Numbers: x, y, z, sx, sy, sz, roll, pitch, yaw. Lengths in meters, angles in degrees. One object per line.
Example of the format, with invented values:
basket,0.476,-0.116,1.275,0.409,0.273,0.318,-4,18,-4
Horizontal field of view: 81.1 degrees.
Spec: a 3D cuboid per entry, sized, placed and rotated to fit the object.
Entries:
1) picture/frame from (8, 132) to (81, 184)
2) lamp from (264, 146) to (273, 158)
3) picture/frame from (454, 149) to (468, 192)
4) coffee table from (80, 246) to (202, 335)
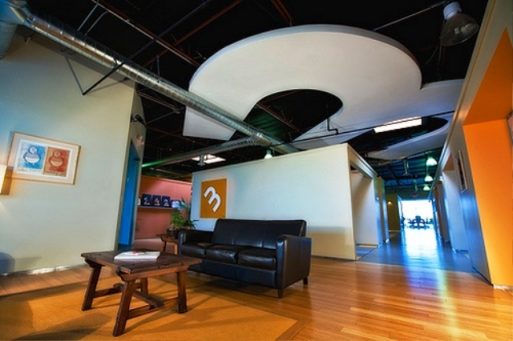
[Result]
picture/frame,-4.275,-0.258,5.951,1.001,0.952,0.081,6,-4,-36
lamp,0.383,-0.629,10.244,0.359,0.397,0.364,-6,-13,26
picture/frame,4.295,-0.010,6.291,0.176,0.877,0.721,1,2,32
coffee table,-1.737,1.673,4.580,1.411,0.752,1.088,-6,-13,41
